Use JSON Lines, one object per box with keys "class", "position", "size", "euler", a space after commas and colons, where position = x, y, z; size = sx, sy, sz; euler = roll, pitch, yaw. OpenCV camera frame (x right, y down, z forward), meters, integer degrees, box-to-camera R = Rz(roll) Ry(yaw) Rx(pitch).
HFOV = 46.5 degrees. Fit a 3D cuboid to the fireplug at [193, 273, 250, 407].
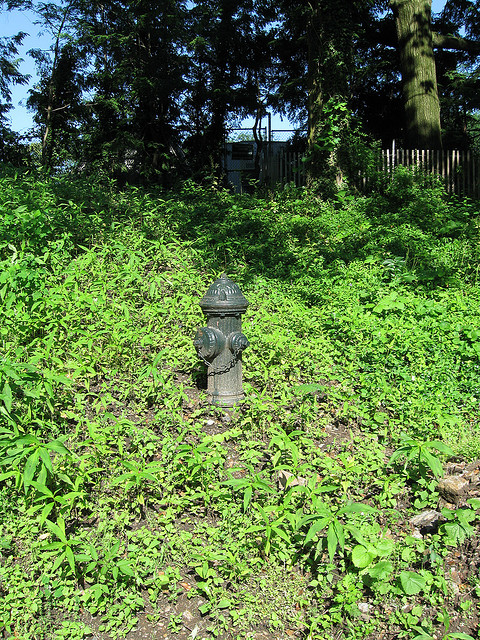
{"class": "fireplug", "position": [-0.114, 0.160, 4.284], "size": [0.372, 0.940, 0.360], "euler": [7, 10, 42]}
